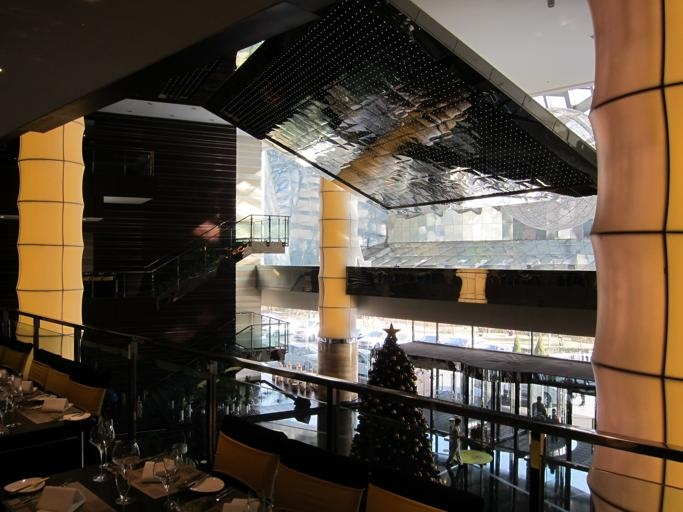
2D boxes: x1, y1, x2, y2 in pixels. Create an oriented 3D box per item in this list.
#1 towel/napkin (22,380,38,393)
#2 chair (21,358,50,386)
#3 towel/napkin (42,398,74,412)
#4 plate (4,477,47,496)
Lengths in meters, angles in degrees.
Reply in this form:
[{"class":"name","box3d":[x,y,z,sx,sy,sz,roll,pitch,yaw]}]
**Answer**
[{"class":"towel/napkin","box3d":[-2.838,1.179,5.061,0.167,0.058,0.123,2,2,38]},{"class":"chair","box3d":[-3.086,1.179,5.676,0.301,0.253,0.237,17,2,40]},{"class":"towel/napkin","box3d":[-2.346,1.209,4.565,0.129,0.043,0.134,2,7,6]},{"class":"plate","box3d":[-1.910,1.385,3.363,0.100,0.019,0.144,3,6,42]}]
